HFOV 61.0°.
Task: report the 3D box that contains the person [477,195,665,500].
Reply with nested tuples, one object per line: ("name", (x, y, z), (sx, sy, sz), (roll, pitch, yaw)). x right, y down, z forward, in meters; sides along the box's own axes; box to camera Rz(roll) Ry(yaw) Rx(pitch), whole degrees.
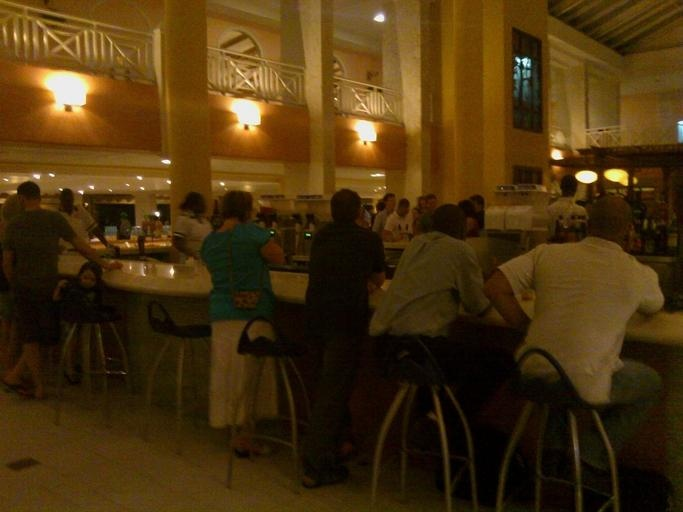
("person", (1.100, 0.302, 2.701), (0.690, 1.130, 0.495), (-2, 12, -15))

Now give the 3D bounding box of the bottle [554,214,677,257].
("bottle", (1.776, -0.125, 3.656), (0.431, 0.110, 0.410), (-2, 9, 0))

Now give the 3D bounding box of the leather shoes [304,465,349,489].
("leather shoes", (-0.096, 1.296, 3.449), (0.289, 0.129, 0.097), (-3, 4, -28))

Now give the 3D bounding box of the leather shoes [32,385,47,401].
("leather shoes", (-2.371, 1.082, 4.572), (0.103, 0.118, 0.102), (2, 6, 6))

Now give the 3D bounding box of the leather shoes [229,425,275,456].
("leather shoes", (-0.565, 1.206, 3.724), (0.284, 0.118, 0.217), (2, 0, 40))

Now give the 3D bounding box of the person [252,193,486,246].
("person", (-0.031, -0.539, 6.635), (1.339, 0.538, 1.371), (4, 6, 39))
